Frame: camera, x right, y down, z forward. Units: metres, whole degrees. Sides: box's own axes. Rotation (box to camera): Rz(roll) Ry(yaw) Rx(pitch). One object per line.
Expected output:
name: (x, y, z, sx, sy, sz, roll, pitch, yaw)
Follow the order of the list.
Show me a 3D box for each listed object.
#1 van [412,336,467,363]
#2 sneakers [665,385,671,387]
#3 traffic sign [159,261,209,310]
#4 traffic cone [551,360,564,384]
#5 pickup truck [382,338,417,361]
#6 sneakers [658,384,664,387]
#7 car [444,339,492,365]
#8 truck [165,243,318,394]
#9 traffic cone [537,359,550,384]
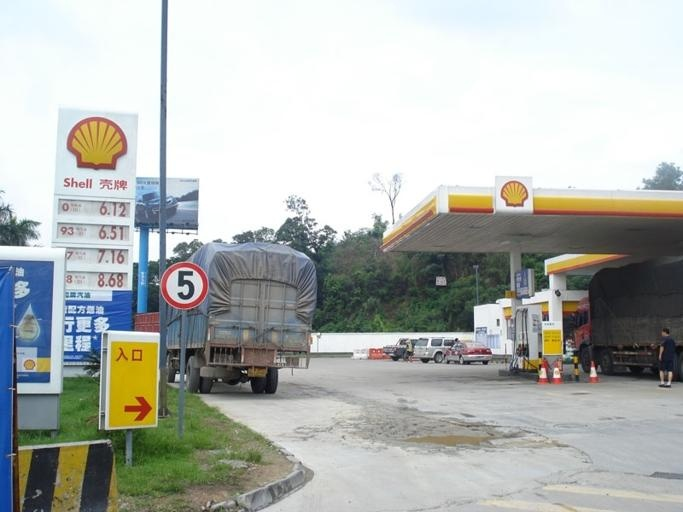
van: (7.244, 7.028, 48.139, 2.751, 1.461, 1.743, -3, -2, -12)
sneakers: (10.868, 4.302, 21.662, 0.147, 0.101, 0.684, -6, -11, 29)
traffic sign: (-2.776, 0.553, 11.539, 0.855, 0.997, 0.080, 4, -33, -17)
traffic cone: (8.010, 4.274, 24.146, 0.575, 0.880, 0.583, 0, -4, -12)
pickup truck: (5.461, 7.806, 54.444, 2.620, 1.698, 1.585, 0, -2, -23)
sneakers: (10.807, 4.349, 21.972, 0.199, 0.101, 0.075, 1, -5, 18)
car: (8.556, 6.645, 44.758, 1.733, 1.605, 3.612, 3, -10, -27)
truck: (-4.120, 2.339, 22.686, 3.297, 4.865, 7.939, 7, -10, -25)
traffic cone: (7.500, 4.257, 24.182, 0.362, 0.891, 1.197, -3, -9, 17)
